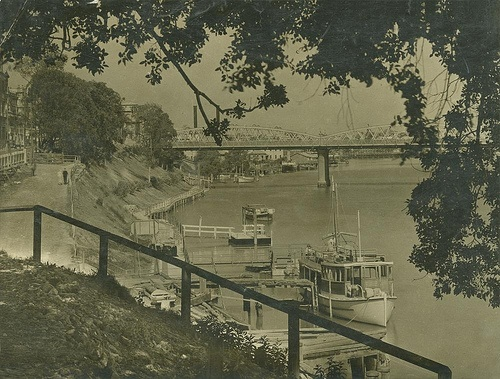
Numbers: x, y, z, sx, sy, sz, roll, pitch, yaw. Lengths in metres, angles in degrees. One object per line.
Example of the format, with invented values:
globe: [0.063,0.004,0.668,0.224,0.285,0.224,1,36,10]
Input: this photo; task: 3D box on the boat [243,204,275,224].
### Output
boat: [0.120,0.506,22.736,0.713,0.404,1.268,0,-4,16]

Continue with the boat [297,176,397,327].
boat: [1.678,1.134,20.582,1.102,2.461,3.103,-3,5,-20]
